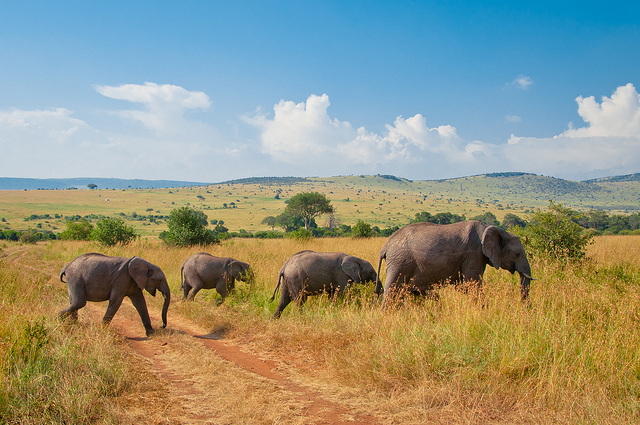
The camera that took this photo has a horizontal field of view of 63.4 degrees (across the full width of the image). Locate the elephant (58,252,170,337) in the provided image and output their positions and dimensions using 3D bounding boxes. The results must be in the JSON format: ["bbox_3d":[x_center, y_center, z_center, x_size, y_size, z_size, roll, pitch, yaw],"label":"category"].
[{"bbox_3d":[-5.958,2.364,15.105,3.005,2.420,1.255,4,3,-19],"label":"elephant"}]
